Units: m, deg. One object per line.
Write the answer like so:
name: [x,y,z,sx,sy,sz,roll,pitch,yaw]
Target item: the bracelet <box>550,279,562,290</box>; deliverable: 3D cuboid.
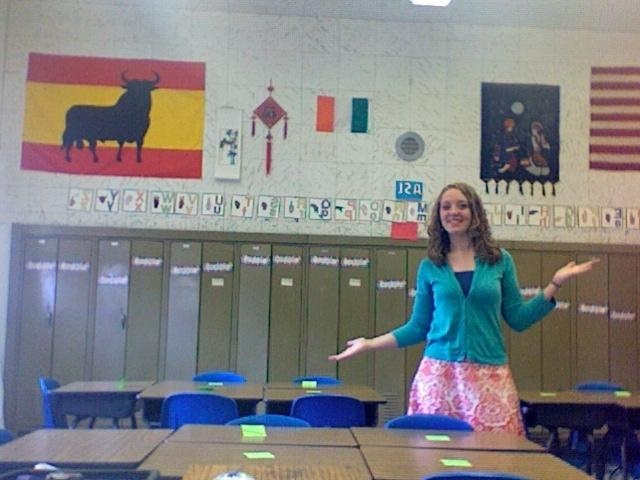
bracelet: [2.052,0.384,7.796,0.065,0.023,0.072,23,1,-38]
